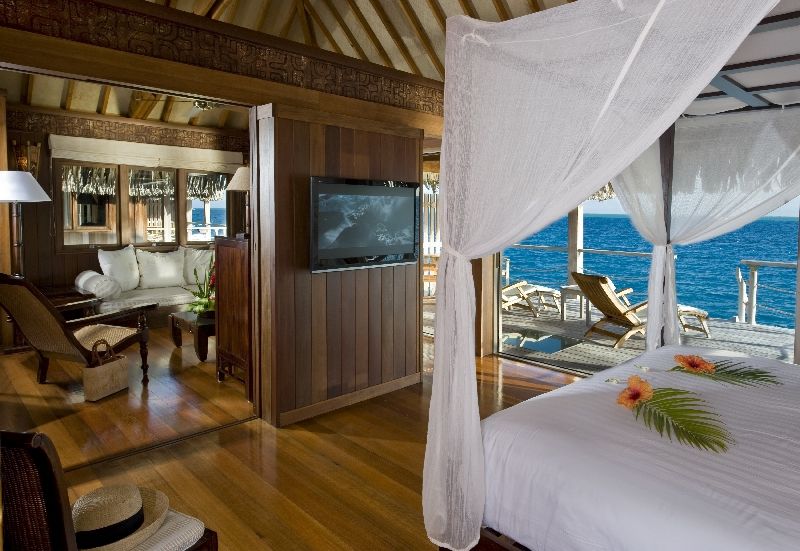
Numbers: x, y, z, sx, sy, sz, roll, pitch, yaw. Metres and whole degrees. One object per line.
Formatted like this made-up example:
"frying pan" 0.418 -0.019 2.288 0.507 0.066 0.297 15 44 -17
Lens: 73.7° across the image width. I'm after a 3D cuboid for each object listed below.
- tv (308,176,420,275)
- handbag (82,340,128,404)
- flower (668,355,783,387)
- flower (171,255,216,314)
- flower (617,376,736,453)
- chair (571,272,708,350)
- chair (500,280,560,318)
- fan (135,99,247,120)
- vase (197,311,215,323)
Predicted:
"tv" -0.285 -0.436 4.668 1.161 0.758 0.071 -6 10 -41
"handbag" -2.608 0.862 4.717 0.196 0.576 0.443 9 14 27
"flower" 2.032 0.604 3.347 0.584 0.088 0.207 6 5 11
"flower" -2.583 0.114 6.606 0.665 0.744 0.705 -1 11 -19
"flower" 1.440 0.722 2.776 0.222 0.105 0.443 -21 21 -14
"chair" 2.729 0.360 6.023 1.375 0.777 0.673 -3 8 -11
"chair" 1.690 0.232 7.286 0.832 0.493 0.523 1 -6 7
"fan" -3.011 -2.342 7.536 1.311 0.291 0.387 -11 18 -41
"vase" -1.980 0.414 5.445 0.132 0.046 0.118 -3 8 -13
